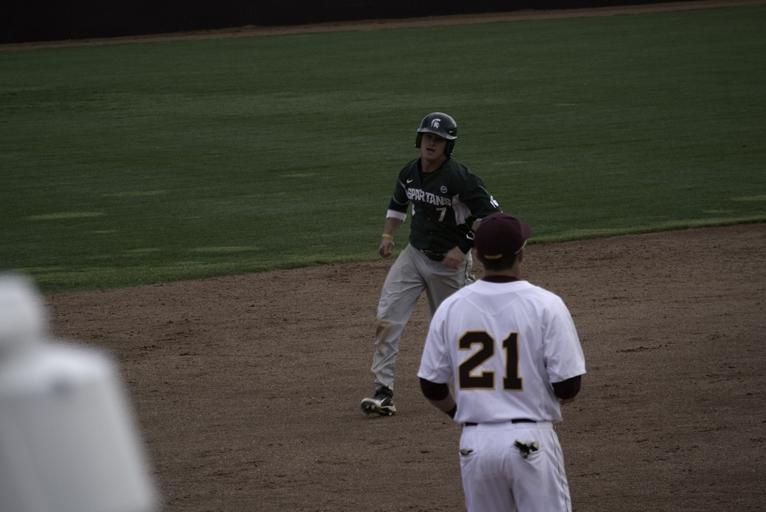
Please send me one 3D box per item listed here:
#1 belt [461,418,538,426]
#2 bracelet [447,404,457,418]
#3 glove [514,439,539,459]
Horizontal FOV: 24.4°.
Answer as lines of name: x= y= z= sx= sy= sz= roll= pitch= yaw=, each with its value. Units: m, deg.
belt: x=1.731 y=2.417 z=25.724 sx=1.041 sy=0.087 sz=0.060 roll=-4 pitch=17 yaw=6
bracelet: x=1.041 y=2.294 z=26.030 sx=0.177 sy=0.170 sz=0.184 roll=3 pitch=-19 yaw=6
glove: x=2.095 y=2.792 z=25.581 sx=0.278 sy=0.258 sz=0.101 roll=-31 pitch=8 yaw=8
